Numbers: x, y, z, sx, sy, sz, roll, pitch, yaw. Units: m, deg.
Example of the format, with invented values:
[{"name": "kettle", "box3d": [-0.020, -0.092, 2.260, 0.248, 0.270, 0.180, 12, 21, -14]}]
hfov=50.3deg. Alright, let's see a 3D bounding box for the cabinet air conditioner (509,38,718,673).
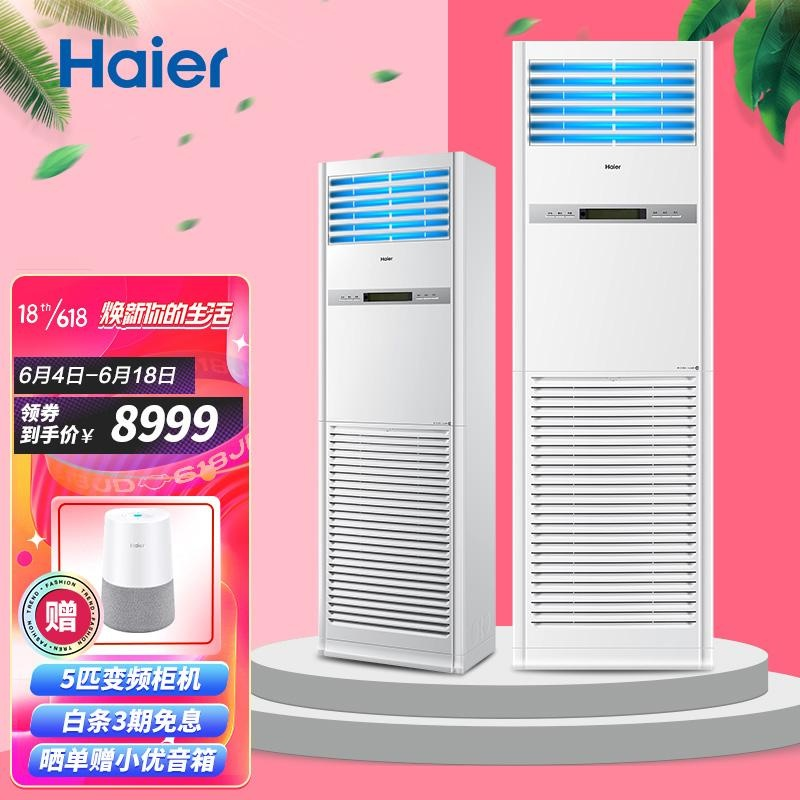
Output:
[{"name": "cabinet air conditioner", "box3d": [0.702, -0.143, 2.831, 0.672, 1.892, 0.944, -1, -24, -1]}]
